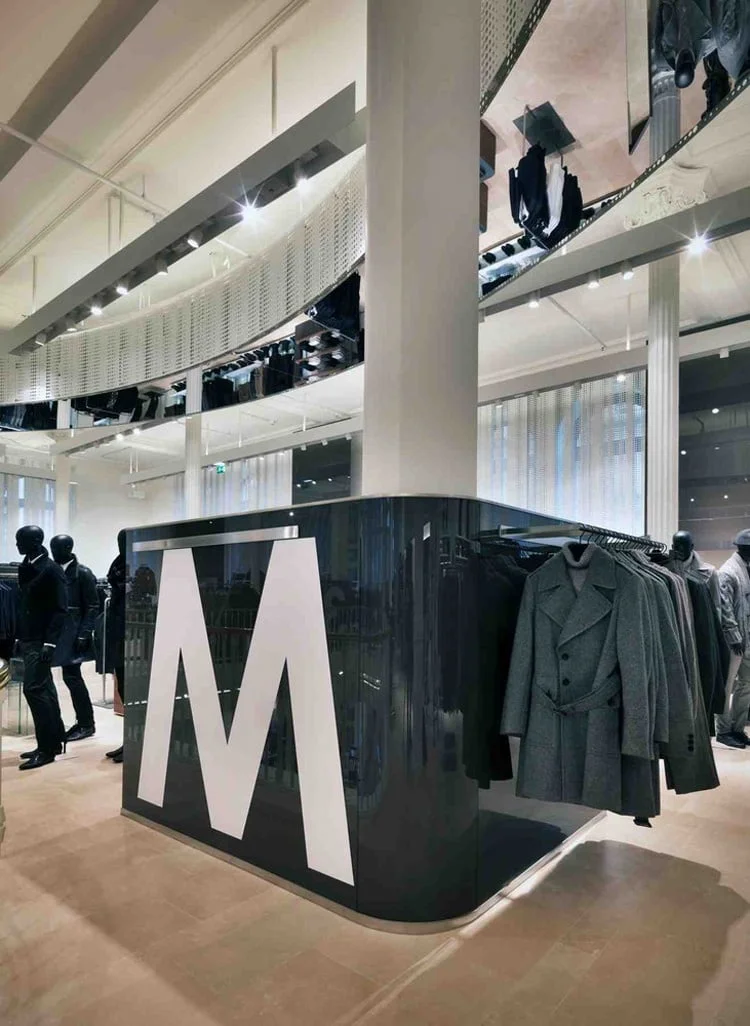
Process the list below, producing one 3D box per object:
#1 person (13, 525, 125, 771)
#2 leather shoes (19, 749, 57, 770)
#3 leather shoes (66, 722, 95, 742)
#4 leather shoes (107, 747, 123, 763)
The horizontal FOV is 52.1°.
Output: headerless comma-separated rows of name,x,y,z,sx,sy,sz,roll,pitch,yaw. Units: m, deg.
person,-2.008,0.829,4.811,0.399,1.444,0.680,1,-4,-13
leather shoes,-2.004,1.498,4.626,0.095,0.136,0.299,-6,-14,27
leather shoes,-2.035,1.556,5.300,0.073,0.103,0.217,-3,-13,19
leather shoes,-1.612,1.527,4.755,0.060,0.088,0.191,16,-14,-42
